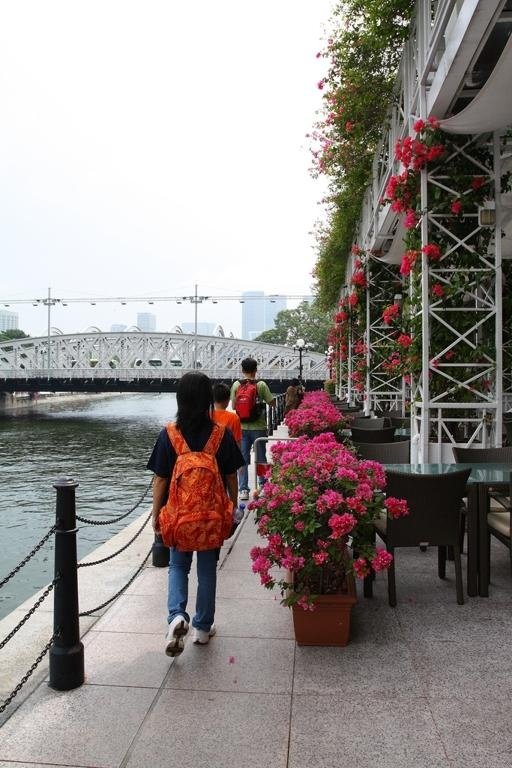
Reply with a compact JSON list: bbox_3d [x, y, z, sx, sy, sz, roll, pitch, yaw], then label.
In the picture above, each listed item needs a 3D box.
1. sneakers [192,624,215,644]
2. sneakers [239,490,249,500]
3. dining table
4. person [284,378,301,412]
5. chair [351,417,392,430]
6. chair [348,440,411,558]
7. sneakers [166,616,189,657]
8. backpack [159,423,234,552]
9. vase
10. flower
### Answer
[{"bbox_3d":[-0.269,1.310,3.283,0.051,0.064,0.149,1,2,12],"label":"sneakers"},{"bbox_3d":[-0.125,1.257,7.019,0.085,0.096,0.108,2,-5,-29],"label":"sneakers"},{"bbox_3d":[1.333,0.832,4.202,0.819,0.819,1.093,-1,4,3],"label":"dining table"},{"bbox_3d":[1.184,0.292,19.846,0.275,1.073,0.714,6,-13,25],"label":"person"},{"bbox_3d":[1.644,0.576,9.012,0.326,0.244,0.318,0,1,-9],"label":"chair"},{"bbox_3d":[1.037,0.760,5.455,0.442,0.541,0.447,0,5,4],"label":"chair"},{"bbox_3d":[-0.348,1.132,2.851,0.082,0.207,0.096,11,9,-12],"label":"sneakers"},{"bbox_3d":[-0.285,0.510,2.996,0.361,0.625,0.277,-1,-2,-6],"label":"backpack"},{"bbox_3d":[0.382,1.196,3.397,0.339,0.255,0.566,-1,1,11],"label":"vase"},{"bbox_3d":[0.433,0.810,3.495,0.688,0.684,0.634,-22,31,20],"label":"flower"}]
